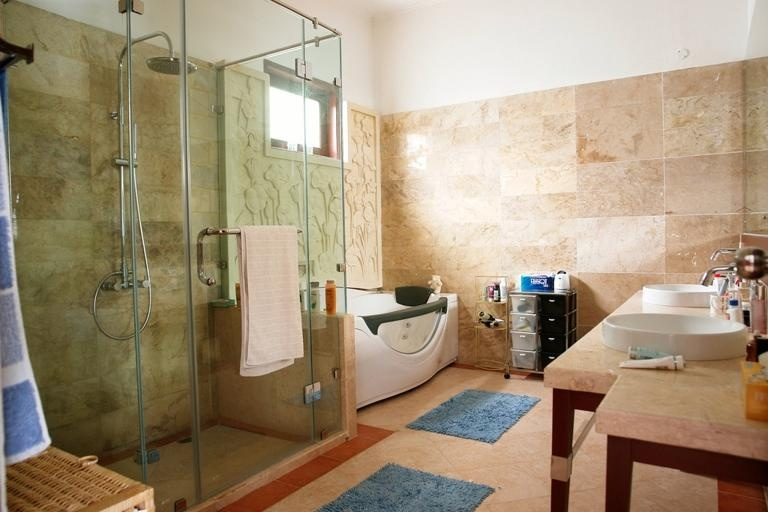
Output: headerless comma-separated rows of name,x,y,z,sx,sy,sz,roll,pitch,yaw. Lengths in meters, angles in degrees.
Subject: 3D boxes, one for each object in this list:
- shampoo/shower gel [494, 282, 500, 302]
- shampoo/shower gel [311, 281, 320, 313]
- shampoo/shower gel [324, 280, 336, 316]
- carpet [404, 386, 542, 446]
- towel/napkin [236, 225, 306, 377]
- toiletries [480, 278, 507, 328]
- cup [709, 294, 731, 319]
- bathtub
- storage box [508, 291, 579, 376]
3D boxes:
shampoo/shower gel,1.109,0.365,5.396,0.059,0.155,0.099,0,9,6
shampoo/shower gel,-0.482,0.282,3.861,0.033,0.205,0.113,4,10,29
shampoo/shower gel,-0.379,0.298,3.970,0.045,0.253,0.137,6,11,37
carpet,0.756,1.268,4.432,0.689,0.038,1.056,6,11,36
towel/napkin,-0.723,0.280,3.515,0.155,0.951,0.555,7,12,40
toiletries,1.097,0.459,5.492,0.282,0.481,0.254,1,9,12
cup,1.933,0.288,3.164,0.129,0.142,0.126,-2,4,0
bathtub,-0.023,0.760,4.939,0.854,0.556,1.290,-1,2,32
storage box,1.502,0.734,5.248,0.660,0.861,0.313,2,9,16
